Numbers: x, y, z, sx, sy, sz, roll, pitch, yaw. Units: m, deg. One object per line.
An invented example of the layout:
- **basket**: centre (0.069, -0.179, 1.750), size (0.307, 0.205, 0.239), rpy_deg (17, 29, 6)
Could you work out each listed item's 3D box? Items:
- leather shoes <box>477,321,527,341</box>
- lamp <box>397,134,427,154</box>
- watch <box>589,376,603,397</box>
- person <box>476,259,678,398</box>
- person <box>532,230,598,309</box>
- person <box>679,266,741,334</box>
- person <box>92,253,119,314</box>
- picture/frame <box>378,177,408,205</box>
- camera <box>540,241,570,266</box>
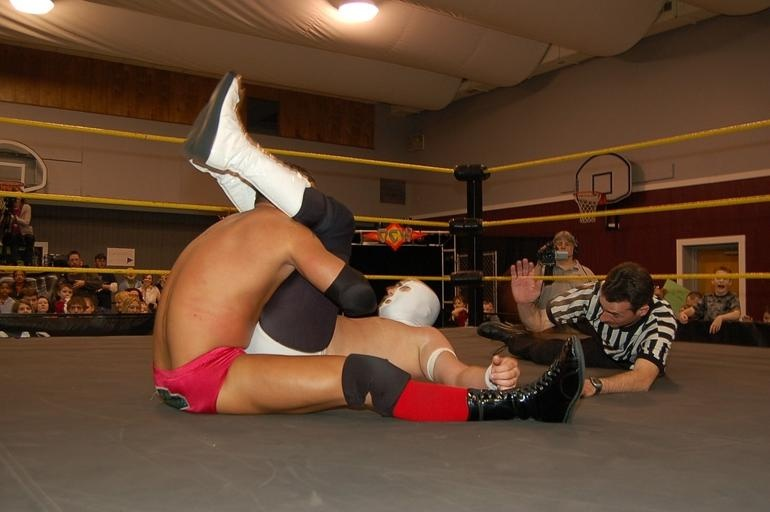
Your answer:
- **leather shoes**: centre (0.766, 0.446, 3.565), size (0.271, 0.097, 0.154), rpy_deg (2, -1, -34)
- **lamp**: centre (0.583, -2.400, 12.127), size (0.383, 0.463, 0.681), rpy_deg (7, -8, -44)
- **watch**: centre (0.929, 0.572, 2.499), size (0.048, 0.069, 0.074), rpy_deg (2, 32, 0)
- **person**: centre (1.075, 0.374, 3.186), size (0.934, 0.618, 1.215), rpy_deg (5, 4, -26)
- **person**: centre (1.434, 0.229, 4.578), size (0.466, 0.700, 0.476), rpy_deg (-5, 7, -14)
- **person**: centre (3.178, 0.469, 5.515), size (0.719, 0.691, 0.505), rpy_deg (1, 0, -35)
- **person**: centre (-3.580, 0.493, 7.177), size (0.369, 0.994, 0.344), rpy_deg (0, 5, -26)
- **picture/frame**: centre (0.154, -1.345, 11.883), size (0.573, 0.513, 0.124), rpy_deg (2, 2, -34)
- **camera**: centre (1.167, 0.003, 3.909), size (0.197, 0.124, 0.203), rpy_deg (0, -2, 39)
